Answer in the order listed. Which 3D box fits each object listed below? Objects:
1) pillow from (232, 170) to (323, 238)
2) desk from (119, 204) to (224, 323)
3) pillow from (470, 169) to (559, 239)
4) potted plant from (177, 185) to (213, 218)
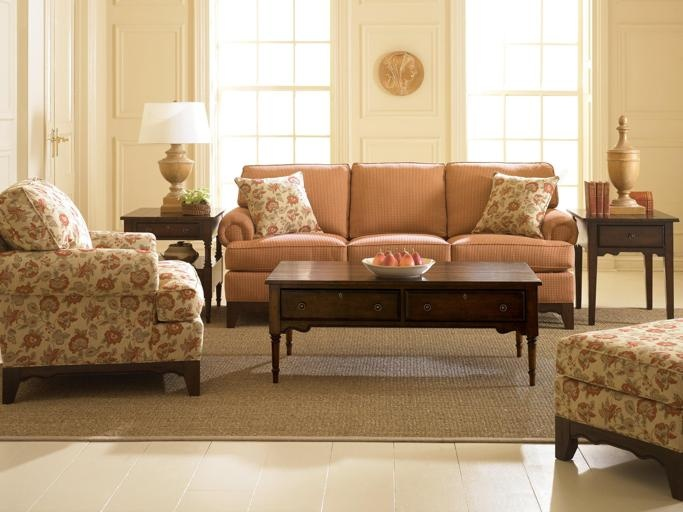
[{"bbox_3d":[-0.487,-0.401,4.595,0.642,0.477,0.355,-2,10,-9],"label":"pillow"},{"bbox_3d":[-1.217,0.052,4.767,1.005,0.989,0.947,0,3,2],"label":"desk"},{"bbox_3d":[1.311,-0.387,4.464,0.613,0.472,0.398,2,10,17],"label":"pillow"},{"bbox_3d":[-1.153,-0.414,4.633,0.242,0.149,0.232,1,-1,-8],"label":"potted plant"}]
